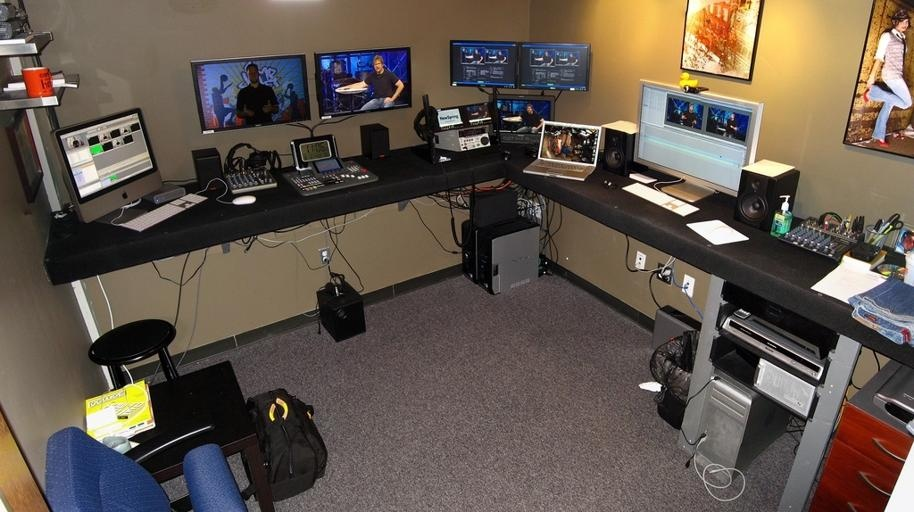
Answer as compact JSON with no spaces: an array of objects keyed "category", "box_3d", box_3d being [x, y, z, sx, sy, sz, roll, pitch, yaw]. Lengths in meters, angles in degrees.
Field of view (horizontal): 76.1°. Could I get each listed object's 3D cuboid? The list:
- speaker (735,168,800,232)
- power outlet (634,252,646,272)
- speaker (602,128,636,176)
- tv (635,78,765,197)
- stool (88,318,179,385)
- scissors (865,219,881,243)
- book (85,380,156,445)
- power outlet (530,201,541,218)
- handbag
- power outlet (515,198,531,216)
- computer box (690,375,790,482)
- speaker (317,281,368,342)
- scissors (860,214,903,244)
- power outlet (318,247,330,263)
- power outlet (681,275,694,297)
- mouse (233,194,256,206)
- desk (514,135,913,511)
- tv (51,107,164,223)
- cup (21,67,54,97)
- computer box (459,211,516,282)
[{"category":"speaker","box_3d":[2.243,-0.399,4.218,0.302,0.398,0.280,-14,32,-18]},{"category":"power outlet","box_3d":[1.678,0.053,5.333,0.019,0.181,0.135,-17,30,-34]},{"category":"speaker","box_3d":[1.370,-0.866,4.878,0.196,0.363,0.259,-20,35,-28]},{"category":"tv","box_3d":[1.896,-0.908,4.469,0.204,0.619,0.889,-34,46,-32]},{"category":"stool","box_3d":[-2.478,0.715,4.420,0.420,0.429,0.405,11,37,5]},{"category":"scissors","box_3d":[2.873,-0.166,4.021,0.088,0.138,0.142,12,40,23]},{"category":"book","box_3d":[-2.213,1.040,3.865,0.371,0.090,0.389,-7,32,-16]},{"category":"power outlet","box_3d":[0.829,-0.467,6.029,0.117,0.135,0.124,-5,3,2]},{"category":"handbag","box_3d":[-1.249,1.379,4.316,0.575,0.238,0.722,-17,69,-27]},{"category":"power outlet","box_3d":[0.692,-0.495,6.019,0.170,0.161,0.051,7,16,13]},{"category":"computer box","box_3d":[2.022,1.236,4.217,0.639,0.859,0.421,-17,33,-23]},{"category":"speaker","box_3d":[-1.081,0.495,5.418,0.431,0.474,0.366,-8,26,-9]},{"category":"scissors","box_3d":[2.922,-0.174,4.000,0.172,0.165,0.104,-16,37,-8]},{"category":"power outlet","box_3d":[-1.256,-0.008,5.476,0.119,0.153,0.032,-17,39,-30]},{"category":"power outlet","box_3d":[2.001,0.255,5.050,0.056,0.180,0.131,-21,32,-31]},{"category":"mouse","box_3d":[-1.690,-0.435,4.612,0.135,0.034,0.095,-1,33,-5]},{"category":"desk","box_3d":[1.932,0.515,4.280,0.721,1.251,2.637,-18,40,-30]},{"category":"tv","box_3d":[-2.680,-0.669,4.411,0.244,0.677,0.704,10,31,27]},{"category":"cup","box_3d":[-2.629,-1.079,3.657,0.152,0.164,0.137,-19,29,-29]},{"category":"computer box","box_3d":[0.325,-0.100,5.764,0.548,0.508,0.385,-18,31,-31]}]
